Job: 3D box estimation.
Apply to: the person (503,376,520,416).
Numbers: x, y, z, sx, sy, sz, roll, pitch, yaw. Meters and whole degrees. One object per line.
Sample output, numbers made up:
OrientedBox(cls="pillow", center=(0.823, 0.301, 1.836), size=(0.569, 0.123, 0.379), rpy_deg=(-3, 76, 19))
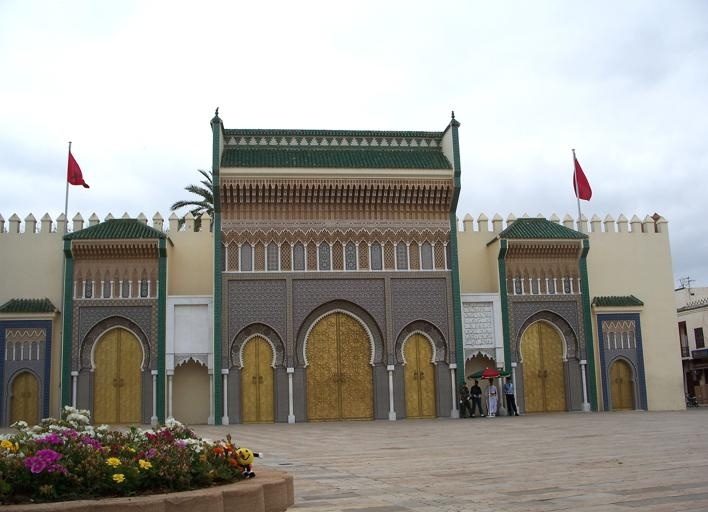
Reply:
OrientedBox(cls="person", center=(5.310, 4.685, 22.785), size=(0.466, 1.287, 0.387), rpy_deg=(0, -12, -11))

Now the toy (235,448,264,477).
OrientedBox(cls="toy", center=(-1.380, 2.637, 8.667), size=(0.246, 0.342, 0.630), rpy_deg=(-1, -13, -11))

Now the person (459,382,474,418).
OrientedBox(cls="person", center=(3.788, 4.804, 22.673), size=(0.482, 1.107, 0.412), rpy_deg=(-1, -12, -9))

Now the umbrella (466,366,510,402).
OrientedBox(cls="umbrella", center=(4.580, 4.343, 22.972), size=(1.142, 0.543, 1.175), rpy_deg=(0, -6, -8))

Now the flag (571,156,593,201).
OrientedBox(cls="flag", center=(8.493, -2.870, 25.160), size=(0.518, 1.902, 1.425), rpy_deg=(-7, -13, 19))
